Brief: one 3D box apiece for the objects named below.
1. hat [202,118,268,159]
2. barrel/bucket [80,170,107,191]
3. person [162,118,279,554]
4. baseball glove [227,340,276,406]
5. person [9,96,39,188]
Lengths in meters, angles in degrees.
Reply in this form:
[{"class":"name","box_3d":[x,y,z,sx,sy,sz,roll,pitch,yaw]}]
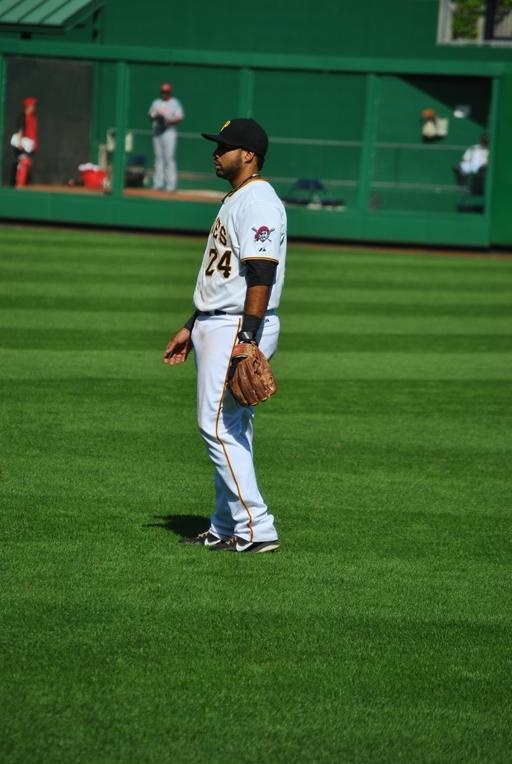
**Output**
[{"class":"hat","box_3d":[-0.060,-0.795,3.802,0.171,0.106,0.129,12,14,-13]},{"class":"barrel/bucket","box_3d":[-2.043,-2.538,14.510,0.290,0.254,0.244,-1,6,12]},{"class":"person","box_3d":[-0.067,-0.128,3.851,0.363,1.458,0.596,-1,13,-12]},{"class":"baseball glove","box_3d":[-0.013,-0.027,3.648,0.148,0.212,0.155,1,13,-3]},{"class":"person","box_3d":[-2.896,-2.980,14.370,0.338,1.087,0.296,1,12,-3]}]
